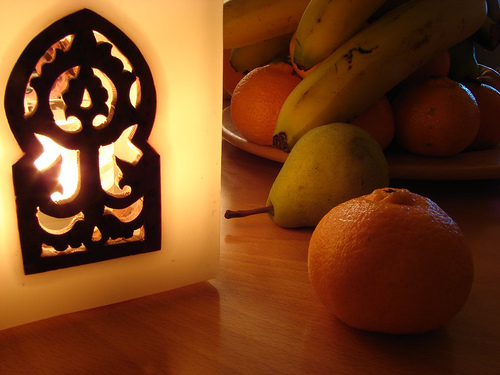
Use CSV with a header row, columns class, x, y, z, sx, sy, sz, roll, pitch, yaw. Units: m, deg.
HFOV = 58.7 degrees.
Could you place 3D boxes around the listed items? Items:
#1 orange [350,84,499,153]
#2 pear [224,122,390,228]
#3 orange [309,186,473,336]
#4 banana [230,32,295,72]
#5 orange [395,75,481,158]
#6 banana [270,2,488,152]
class,x,y,z,sx,sy,sz,roll,pitch,yaw
orange,0.304,-0.115,0.741,0.149,0.090,0.153,-24,28,-37
pear,0.082,-0.012,0.624,0.202,0.124,0.118,-24,29,-3
orange,0.130,0.072,0.430,0.130,0.115,0.120,-11,28,-20
banana,0.018,-0.280,0.963,0.044,0.057,0.172,23,41,35
orange,0.300,-0.108,0.769,0.119,0.141,0.125,0,-9,-6
banana,0.204,-0.171,0.703,0.314,0.087,0.096,-39,71,3
